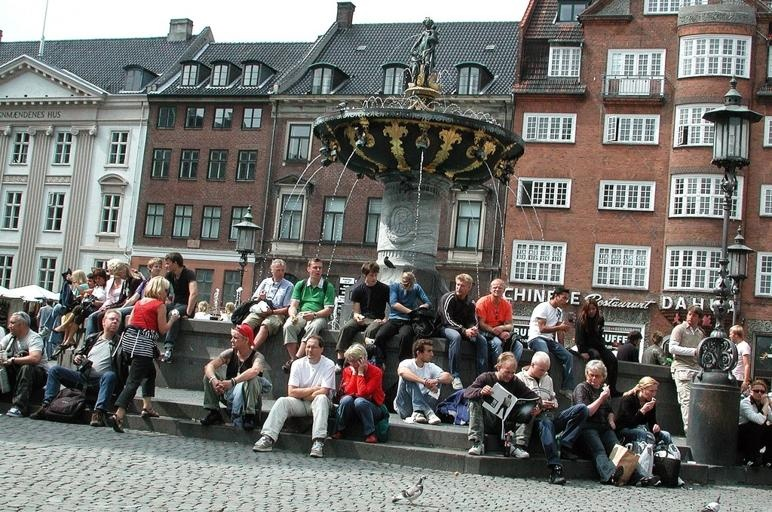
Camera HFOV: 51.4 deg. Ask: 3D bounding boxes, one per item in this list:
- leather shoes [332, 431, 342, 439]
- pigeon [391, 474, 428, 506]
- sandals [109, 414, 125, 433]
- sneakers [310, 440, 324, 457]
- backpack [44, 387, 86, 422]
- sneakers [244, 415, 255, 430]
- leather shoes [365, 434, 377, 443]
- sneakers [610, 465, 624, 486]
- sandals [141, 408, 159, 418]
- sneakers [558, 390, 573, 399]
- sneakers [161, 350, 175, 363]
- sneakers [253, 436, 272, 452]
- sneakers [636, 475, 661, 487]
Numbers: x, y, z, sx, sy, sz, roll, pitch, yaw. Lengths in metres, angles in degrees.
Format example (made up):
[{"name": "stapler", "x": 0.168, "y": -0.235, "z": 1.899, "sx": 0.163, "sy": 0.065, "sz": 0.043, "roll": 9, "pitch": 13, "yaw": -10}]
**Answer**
[{"name": "leather shoes", "x": -0.798, "y": 2.974, "z": 13.291, "sx": 0.170, "sy": 0.114, "sz": 0.111, "roll": 5, "pitch": -3, "yaw": -10}, {"name": "pigeon", "x": 0.286, "y": 3.134, "z": 10.645, "sx": 0.405, "sy": 0.371, "sz": 0.456, "roll": 4, "pitch": -3, "yaw": -2}, {"name": "sandals", "x": -4.597, "y": 2.887, "z": 13.765, "sx": 0.115, "sy": 0.293, "sz": 0.118, "roll": -25, "pitch": 4, "yaw": 36}, {"name": "sneakers", "x": -1.105, "y": 3.114, "z": 12.925, "sx": 0.195, "sy": 0.268, "sz": 0.183, "roll": 4, "pitch": -3, "yaw": -3}, {"name": "backpack", "x": -5.639, "y": 2.653, "z": 14.146, "sx": 0.508, "sy": 0.478, "sz": 0.261, "roll": 6, "pitch": -35, "yaw": 8}, {"name": "sneakers", "x": -2.279, "y": 2.825, "z": 13.539, "sx": 0.209, "sy": 0.254, "sz": 0.101, "roll": 6, "pitch": -4, "yaw": -24}, {"name": "leather shoes", "x": -0.232, "y": 2.998, "z": 13.160, "sx": 0.202, "sy": 0.125, "sz": 0.129, "roll": 5, "pitch": -3, "yaw": -12}, {"name": "sneakers", "x": 3.767, "y": 3.581, "z": 13.158, "sx": 0.126, "sy": 0.363, "sz": 0.243, "roll": 17, "pitch": -15, "yaw": -10}, {"name": "sandals", "x": -4.134, "y": 2.768, "z": 14.087, "sx": 0.141, "sy": 0.124, "sz": 0.308, "roll": -1, "pitch": -1, "yaw": 35}, {"name": "sneakers", "x": 3.519, "y": 2.731, "z": 15.792, "sx": 0.299, "sy": 0.126, "sz": 0.111, "roll": 4, "pitch": 7, "yaw": 44}, {"name": "sneakers", "x": -4.566, "y": 2.126, "z": 16.852, "sx": 0.203, "sy": 0.231, "sz": 0.350, "roll": 3, "pitch": 3, "yaw": -15}, {"name": "sneakers", "x": -1.956, "y": 3.062, "z": 12.972, "sx": 0.404, "sy": 0.195, "sz": 0.143, "roll": 3, "pitch": -9, "yaw": 7}, {"name": "sneakers", "x": 4.300, "y": 3.686, "z": 13.272, "sx": 0.487, "sy": 0.159, "sz": 0.203, "roll": -4, "pitch": 2, "yaw": -24}]
